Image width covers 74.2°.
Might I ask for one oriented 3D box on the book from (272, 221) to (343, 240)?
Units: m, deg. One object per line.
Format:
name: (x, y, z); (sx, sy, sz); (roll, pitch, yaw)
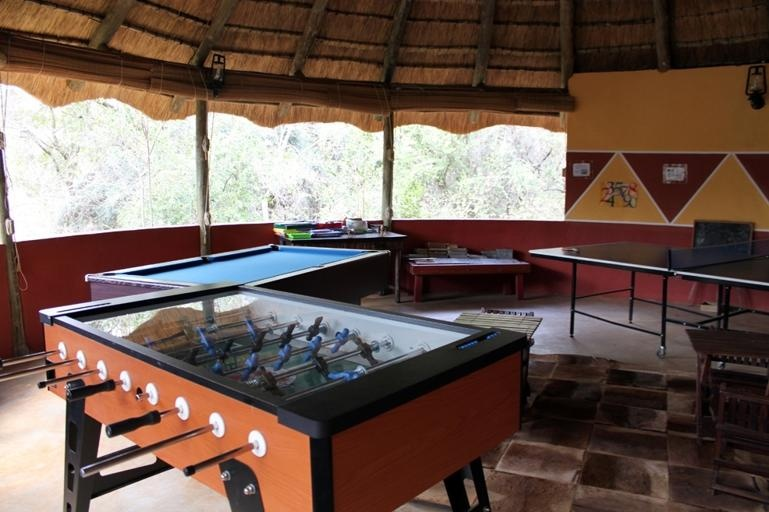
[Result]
book: (-0.993, -0.342, 6.828); (0.936, 0.209, 0.632); (-3, 9, -22)

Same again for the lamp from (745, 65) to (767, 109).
lamp: (4.836, -2.187, 6.583); (0.246, 0.562, 0.222); (6, 11, 29)

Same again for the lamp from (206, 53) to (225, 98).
lamp: (-2.055, -2.190, 6.227); (0.293, 0.561, 0.136); (3, 7, -31)
